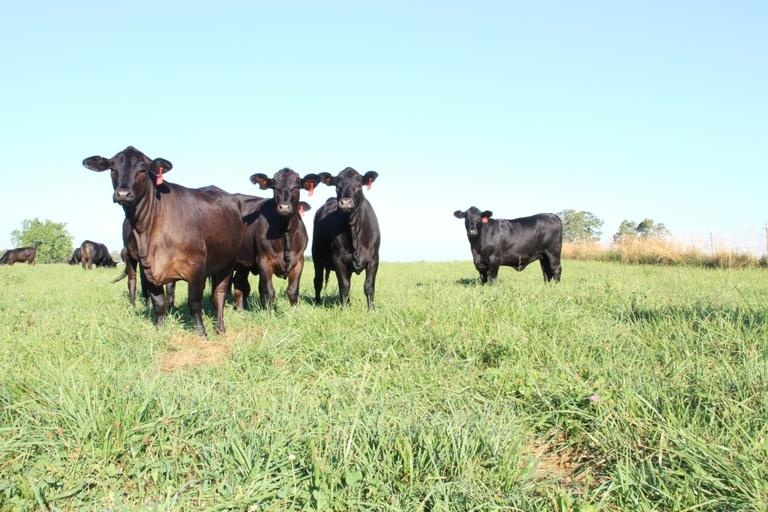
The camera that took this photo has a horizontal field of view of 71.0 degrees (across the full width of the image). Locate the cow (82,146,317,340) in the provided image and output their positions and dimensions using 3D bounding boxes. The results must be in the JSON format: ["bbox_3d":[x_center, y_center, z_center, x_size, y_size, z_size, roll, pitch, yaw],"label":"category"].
[{"bbox_3d":[-3.267,-0.202,8.740,1.305,2.928,2.584,0,3,17],"label":"cow"}]

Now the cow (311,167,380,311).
[{"bbox_3d":[-0.796,-0.337,10.832,1.208,2.795,2.898,-1,3,-11],"label":"cow"}]
